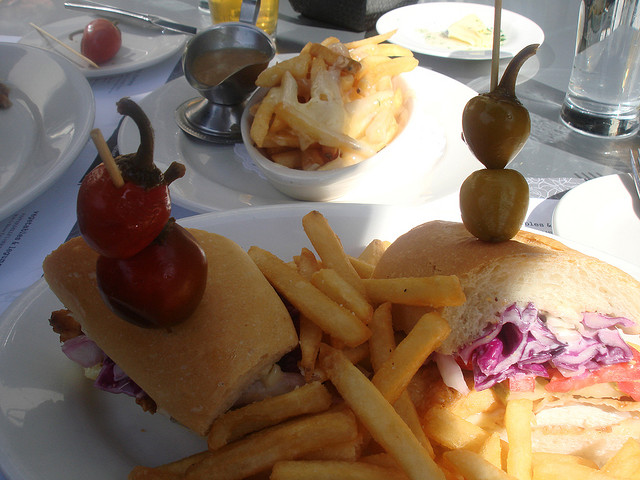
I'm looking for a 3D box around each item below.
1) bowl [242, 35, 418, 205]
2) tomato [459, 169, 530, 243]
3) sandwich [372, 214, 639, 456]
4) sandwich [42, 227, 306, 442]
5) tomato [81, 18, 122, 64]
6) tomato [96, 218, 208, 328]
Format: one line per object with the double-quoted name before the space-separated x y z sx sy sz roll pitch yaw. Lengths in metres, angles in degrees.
"bowl" 0.030 -0.603 2.499 0.692 0.379 0.969 13 53 8
"tomato" 0.495 -0.102 1.563 0.177 0.208 0.181 2 5 38
"sandwich" 0.517 0.248 1.667 0.538 0.294 0.778 -13 46 -8
"sandwich" -0.432 0.234 1.706 0.553 0.240 0.731 -38 81 -7
"tomato" -1.225 -1.109 3.102 0.216 0.230 0.273 1 80 -14
"tomato" -0.426 0.072 1.474 0.216 0.278 0.270 -10 19 -32
